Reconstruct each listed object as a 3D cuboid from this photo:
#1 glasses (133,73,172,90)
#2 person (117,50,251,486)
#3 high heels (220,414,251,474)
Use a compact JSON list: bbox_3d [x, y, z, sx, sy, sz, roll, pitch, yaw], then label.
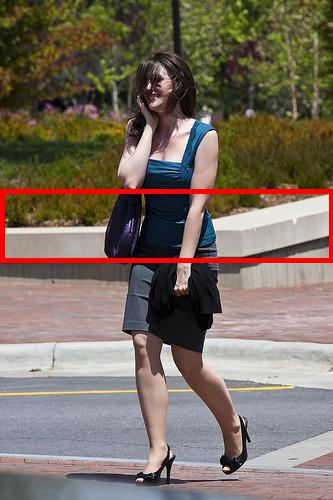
[{"bbox_3d":[-0.074,-0.820,5.181,0.094,0.041,0.101,-9,16,39],"label":"glasses"},{"bbox_3d":[0.000,0.173,5.181,0.667,1.902,0.693,-4,7,-30],"label":"person"},{"bbox_3d":[0.345,1.018,5.300,0.129,0.361,0.103,25,-18,-37],"label":"high heels"}]
